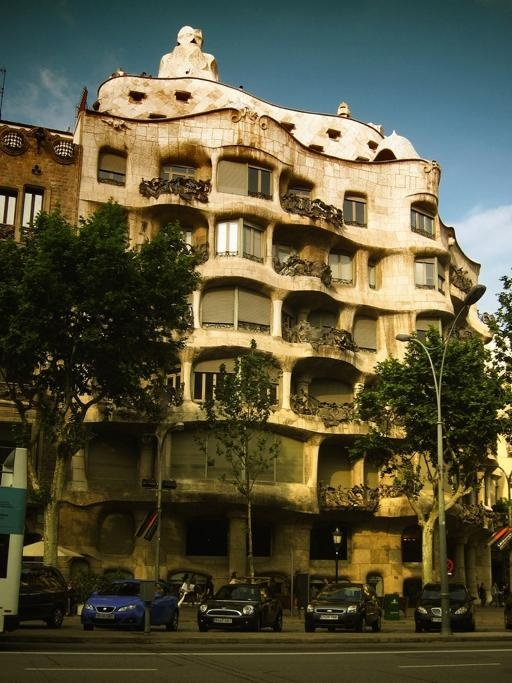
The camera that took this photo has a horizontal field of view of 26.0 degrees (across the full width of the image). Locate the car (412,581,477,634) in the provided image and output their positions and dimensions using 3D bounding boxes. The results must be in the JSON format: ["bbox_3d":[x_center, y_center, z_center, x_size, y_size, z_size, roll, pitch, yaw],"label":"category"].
[{"bbox_3d":[5.582,7.827,32.294,1.080,0.873,2.263,-4,-28,11],"label":"car"}]

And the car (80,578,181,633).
[{"bbox_3d":[-3.095,6.894,28.616,1.441,0.994,2.835,-6,-26,12],"label":"car"}]

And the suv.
[{"bbox_3d":[-5.912,6.505,28.547,1.254,1.238,2.427,-5,-20,12],"label":"suv"}]

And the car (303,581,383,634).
[{"bbox_3d":[2.583,7.541,30.919,1.169,0.865,2.190,-5,-24,15],"label":"car"}]

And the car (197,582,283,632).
[{"bbox_3d":[-0.449,7.175,29.733,1.506,1.262,2.758,-3,-13,18],"label":"car"}]
